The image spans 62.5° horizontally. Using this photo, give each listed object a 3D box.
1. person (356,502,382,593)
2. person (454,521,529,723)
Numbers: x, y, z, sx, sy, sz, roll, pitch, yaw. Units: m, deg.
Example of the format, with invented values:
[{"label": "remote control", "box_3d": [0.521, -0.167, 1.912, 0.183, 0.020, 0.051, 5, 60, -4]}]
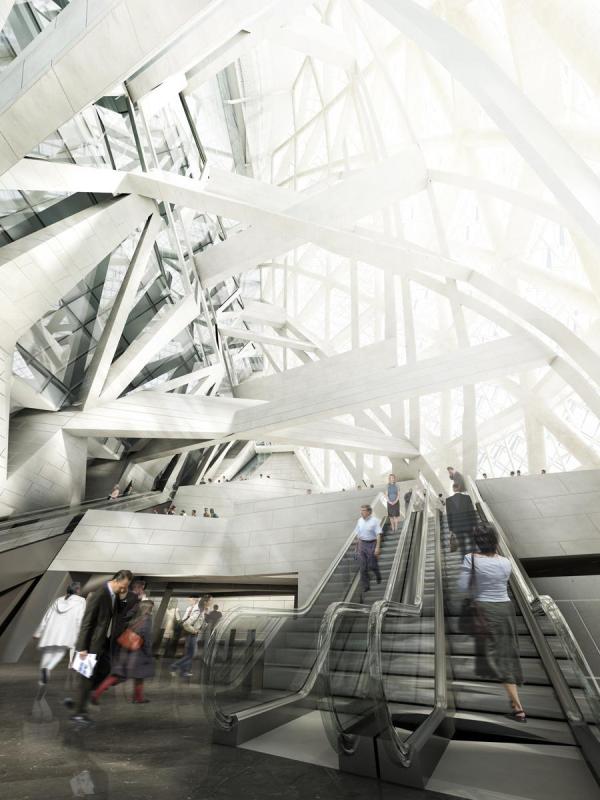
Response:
[{"label": "person", "box_3d": [1.387, 2.947, 9.878, 0.607, 1.758, 0.704, 8, -32, 8]}, {"label": "person", "box_3d": [1.999, 2.240, 5.192, 0.599, 1.872, 0.870, -2, -35, 23]}]
